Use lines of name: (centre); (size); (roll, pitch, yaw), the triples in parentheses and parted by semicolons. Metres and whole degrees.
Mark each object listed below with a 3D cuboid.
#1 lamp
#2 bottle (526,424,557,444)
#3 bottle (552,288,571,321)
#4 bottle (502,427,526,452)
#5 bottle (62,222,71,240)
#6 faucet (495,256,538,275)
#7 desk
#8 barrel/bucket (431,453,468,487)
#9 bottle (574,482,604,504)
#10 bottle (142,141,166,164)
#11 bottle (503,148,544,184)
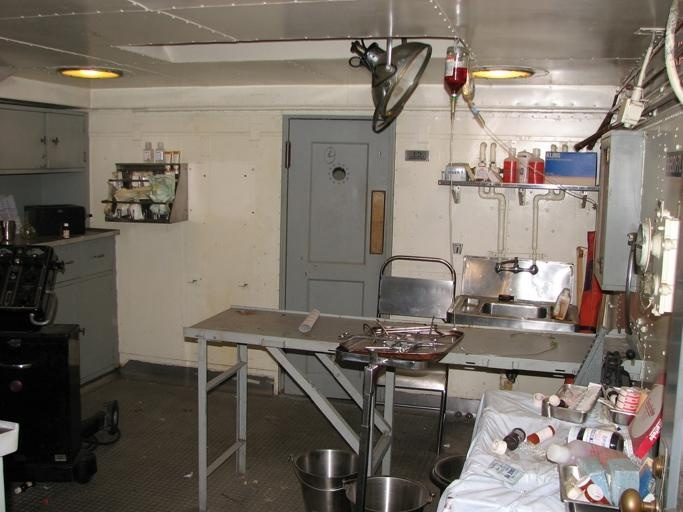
lamp: (0.329, -1.200, 3.694); (0.391, 0.538, 0.397); (23, 54, 22)
bottle: (0.956, 0.840, 2.776); (0.225, 0.064, 0.059); (-3, 7, -36)
bottle: (1.677, 0.376, 4.464); (0.074, 0.056, 0.211); (3, -30, -8)
bottle: (0.807, 0.841, 2.719); (0.083, 0.083, 0.126); (45, 26, 13)
bottle: (-2.446, -0.233, 5.230); (0.072, 0.130, 0.147); (-2, 7, -25)
faucet: (1.454, 0.096, 4.877); (0.237, 0.111, 0.180); (4, 8, 13)
desk: (0.213, 1.014, 4.172); (2.360, 1.223, 1.413); (2, 6, 6)
barrel/bucket: (0.704, 1.422, 3.900); (0.309, 0.124, 0.315); (-6, 10, 1)
bottle: (1.011, 0.955, 2.374); (0.074, 0.072, 0.050); (15, 55, 24)
bottle: (-1.760, -0.977, 5.543); (0.261, 0.259, 0.093); (0, 2, 3)
bottle: (1.479, -0.731, 4.784); (0.317, 0.282, 0.227); (2, 6, 10)
